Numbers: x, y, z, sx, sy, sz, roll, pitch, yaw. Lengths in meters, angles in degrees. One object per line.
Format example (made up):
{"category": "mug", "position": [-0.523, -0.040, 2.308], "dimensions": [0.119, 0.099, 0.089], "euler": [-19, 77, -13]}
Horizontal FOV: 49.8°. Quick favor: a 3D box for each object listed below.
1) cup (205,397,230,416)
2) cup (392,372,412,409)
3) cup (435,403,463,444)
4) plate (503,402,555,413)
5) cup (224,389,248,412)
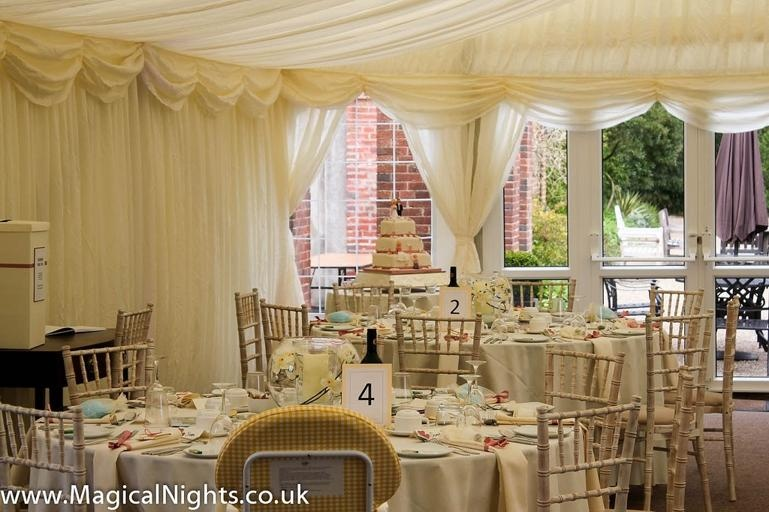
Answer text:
{"category": "cup", "position": [-0.884, 0.793, 4.403], "dimensions": [0.094, 0.062, 0.098], "euler": [1, -3, 0]}
{"category": "cup", "position": [0.091, 0.749, 4.618], "dimensions": [0.147, 0.169, 0.144], "euler": [0, 0, 0]}
{"category": "cup", "position": [0.326, 0.851, 4.302], "dimensions": [0.144, 0.148, 0.105], "euler": [-5, -7, 43]}
{"category": "plate", "position": [0.769, 0.812, 4.513], "dimensions": [0.207, 0.040, 0.133], "euler": [4, -3, -28]}
{"category": "cup", "position": [-0.806, 0.778, 4.493], "dimensions": [0.108, 0.112, 0.113], "euler": [0, -4, 0]}
